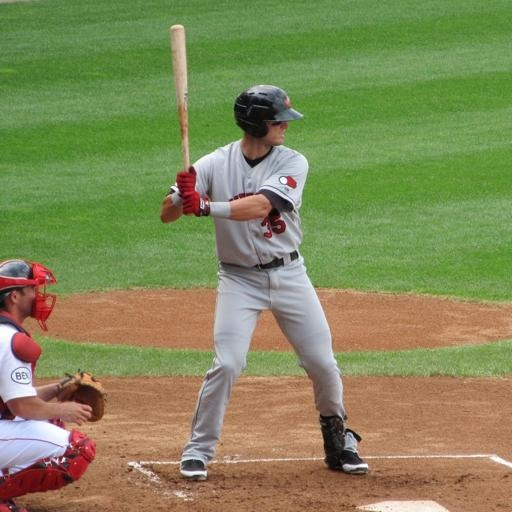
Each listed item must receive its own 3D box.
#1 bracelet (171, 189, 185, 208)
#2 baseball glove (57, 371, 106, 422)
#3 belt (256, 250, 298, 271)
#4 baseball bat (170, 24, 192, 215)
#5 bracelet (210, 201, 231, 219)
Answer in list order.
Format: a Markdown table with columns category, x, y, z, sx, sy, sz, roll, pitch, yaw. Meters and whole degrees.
| category | x | y | z | sx | sy | sz | roll | pitch | yaw |
| --- | --- | --- | --- | --- | --- | --- | --- | --- | --- |
| bracelet | -0.706 | -0.511 | 10.620 | 0.127 | 0.156 | 0.133 | 1 | 45 | -6 |
| baseball glove | -1.457 | 1.158 | 10.230 | 0.364 | 0.438 | 0.217 | -14 | 13 | 10 |
| belt | 0.197 | 0.057 | 10.715 | 0.234 | 0.067 | 0.214 | -14 | 6 | 43 |
| baseball bat | -0.617 | -1.381 | 10.653 | 0.180 | 1.379 | 0.172 | -4 | -6 | -2 |
| bracelet | -0.315 | -0.407 | 10.333 | 0.126 | 0.112 | 0.154 | 0 | 1 | 18 |
